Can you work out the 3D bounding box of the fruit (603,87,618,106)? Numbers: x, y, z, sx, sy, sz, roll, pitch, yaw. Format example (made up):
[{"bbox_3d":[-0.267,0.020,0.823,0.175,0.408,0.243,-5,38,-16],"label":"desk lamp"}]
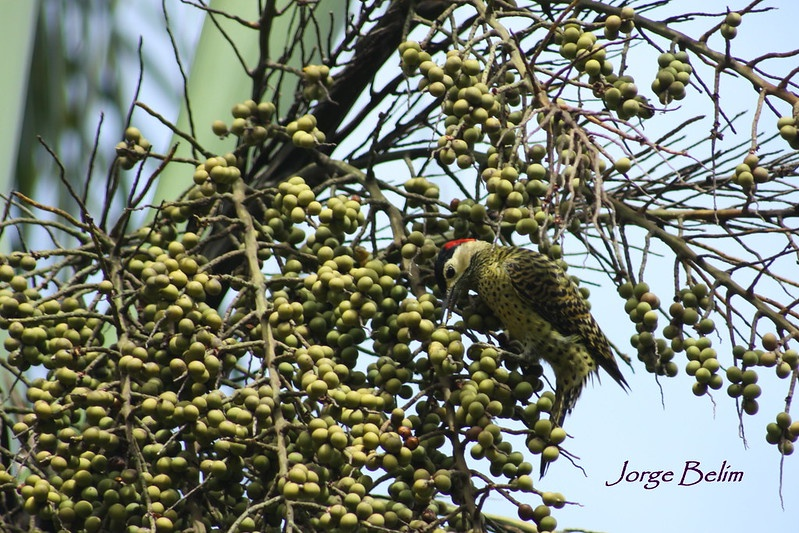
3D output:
[{"bbox_3d":[0.677,-0.539,6.428,0.048,0.063,0.050,2,2,9],"label":"fruit"}]

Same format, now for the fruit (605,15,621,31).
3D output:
[{"bbox_3d":[0.679,-0.774,6.452,0.040,0.052,0.043,-1,10,9],"label":"fruit"}]

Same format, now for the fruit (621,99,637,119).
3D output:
[{"bbox_3d":[0.732,-0.505,6.471,0.060,0.082,0.065,4,10,12],"label":"fruit"}]

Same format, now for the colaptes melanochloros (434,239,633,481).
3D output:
[{"bbox_3d":[0.505,0.189,7.222,0.801,0.534,0.326,10,-14,-18],"label":"colaptes melanochloros"}]

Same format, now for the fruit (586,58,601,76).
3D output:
[{"bbox_3d":[0.617,-0.632,6.428,0.044,0.058,0.047,0,4,6],"label":"fruit"}]
